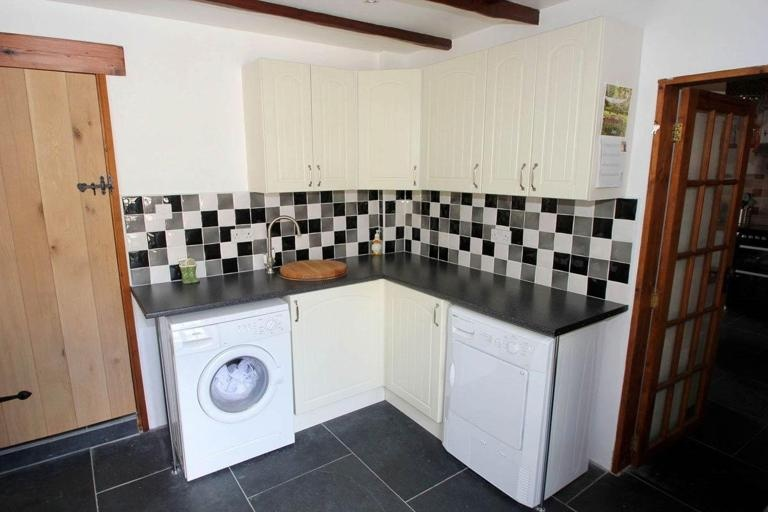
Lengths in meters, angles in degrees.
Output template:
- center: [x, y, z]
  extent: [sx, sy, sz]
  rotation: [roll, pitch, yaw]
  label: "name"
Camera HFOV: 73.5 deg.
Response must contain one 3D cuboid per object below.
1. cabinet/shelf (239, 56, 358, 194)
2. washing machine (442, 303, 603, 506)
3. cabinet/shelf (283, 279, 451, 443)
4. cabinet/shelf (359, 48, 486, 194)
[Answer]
- center: [-0.709, -1.041, 4.070]
  extent: [1.014, 1.138, 0.480]
  rotation: [-6, 15, -28]
  label: "cabinet/shelf"
- center: [0.920, 0.814, 4.283]
  extent: [1.225, 1.761, 1.304]
  rotation: [-5, 11, -30]
  label: "washing machine"
- center: [-0.125, 0.740, 4.255]
  extent: [1.228, 1.283, 1.226]
  rotation: [-7, 11, -33]
  label: "cabinet/shelf"
- center: [0.329, -1.059, 4.151]
  extent: [0.450, 1.046, 1.132]
  rotation: [-9, 15, -42]
  label: "cabinet/shelf"
